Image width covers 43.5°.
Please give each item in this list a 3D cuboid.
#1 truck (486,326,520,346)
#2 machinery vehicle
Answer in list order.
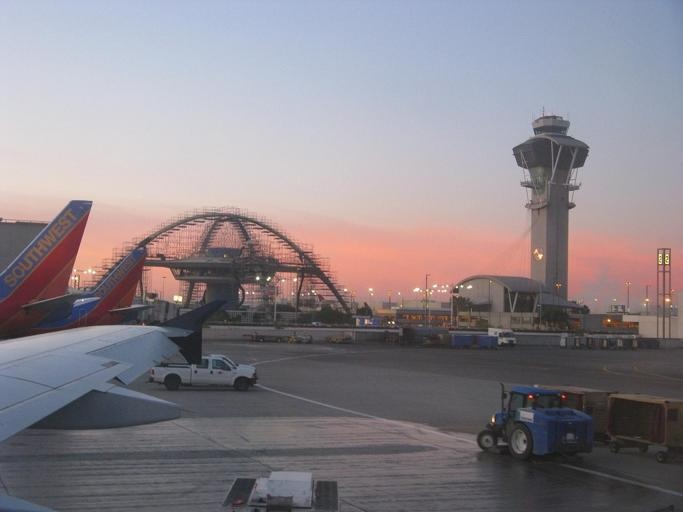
[{"bbox_3d":[19.959,10.153,106.318,2.315,1.896,3.912,0,-5,-18],"label":"truck"},{"bbox_3d":[7.156,6.201,31.850,2.624,2.171,4.556,2,-5,-22],"label":"machinery vehicle"}]
